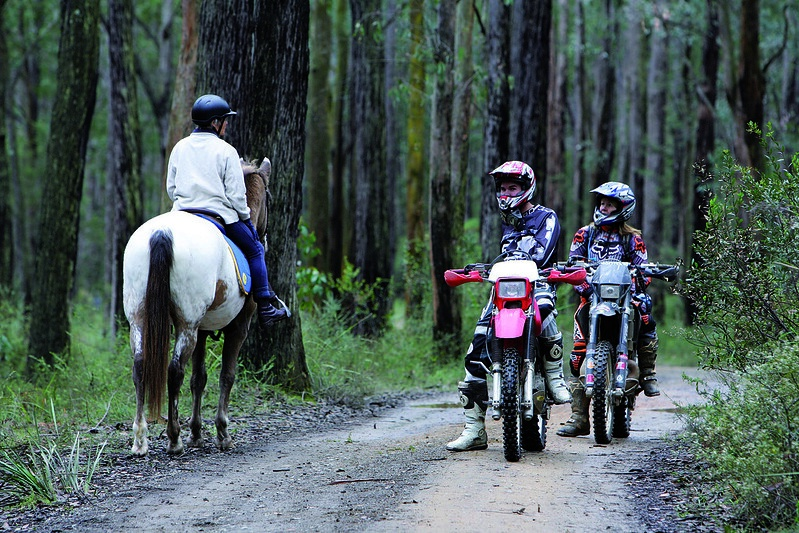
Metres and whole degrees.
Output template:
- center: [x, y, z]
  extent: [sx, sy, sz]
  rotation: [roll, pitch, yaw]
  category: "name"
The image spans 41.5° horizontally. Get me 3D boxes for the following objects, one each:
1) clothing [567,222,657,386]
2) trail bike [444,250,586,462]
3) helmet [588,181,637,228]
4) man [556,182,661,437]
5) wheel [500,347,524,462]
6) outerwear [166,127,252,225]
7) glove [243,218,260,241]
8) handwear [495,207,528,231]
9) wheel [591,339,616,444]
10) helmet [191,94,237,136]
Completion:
- center: [3.265, 0.142, 15.542]
  extent: [1.138, 1.715, 2.382]
  rotation: [-2, -9, 9]
  category: "clothing"
- center: [1.606, 1.245, 14.793]
  extent: [1.650, 2.450, 0.908]
  rotation: [-2, 1, 4]
  category: "trail bike"
- center: [3.322, -0.938, 16.254]
  extent: [0.652, 0.618, 0.500]
  rotation: [0, 6, -39]
  category: "helmet"
- center: [3.210, 0.617, 16.089]
  extent: [1.408, 3.975, 1.386]
  rotation: [-1, -20, 20]
  category: "man"
- center: [1.543, 1.830, 14.506]
  extent: [0.343, 1.034, 1.028]
  rotation: [-2, 46, 6]
  category: "wheel"
- center: [-2.904, -1.266, 15.790]
  extent: [1.130, 1.621, 1.041]
  rotation: [4, 9, 17]
  category: "outerwear"
- center: [-2.227, -0.529, 15.844]
  extent: [0.125, 0.453, 0.109]
  rotation: [-25, 31, -11]
  category: "glove"
- center: [1.634, -0.674, 15.336]
  extent: [0.268, 0.248, 0.307]
  rotation: [0, 2, 39]
  category: "handwear"
- center: [3.024, 1.821, 15.651]
  extent: [0.226, 1.080, 1.019]
  rotation: [0, 33, 14]
  category: "wheel"
- center: [-2.738, -2.174, 15.803]
  extent: [0.594, 0.695, 0.490]
  rotation: [-11, 15, -13]
  category: "helmet"
